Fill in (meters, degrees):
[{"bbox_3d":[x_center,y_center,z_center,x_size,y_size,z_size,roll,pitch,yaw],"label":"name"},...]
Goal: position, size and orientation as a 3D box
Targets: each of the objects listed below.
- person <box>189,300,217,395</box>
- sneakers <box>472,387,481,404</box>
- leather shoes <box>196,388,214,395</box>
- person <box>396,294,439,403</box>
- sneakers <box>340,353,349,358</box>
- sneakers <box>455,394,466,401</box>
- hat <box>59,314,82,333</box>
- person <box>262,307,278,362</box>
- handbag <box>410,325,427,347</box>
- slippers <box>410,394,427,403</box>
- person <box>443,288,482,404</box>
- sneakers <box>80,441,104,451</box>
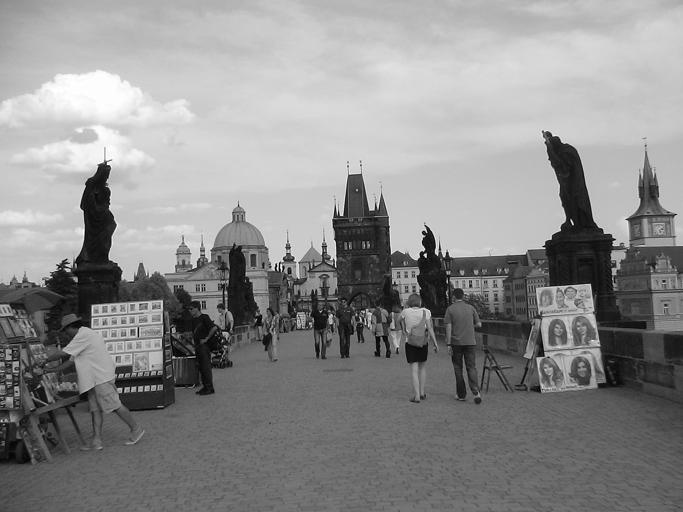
[{"bbox_3d":[-3.022,2.010,16.479,0.534,1.609,1.452,-3,-1,-11],"label":"person"},{"bbox_3d":[2.379,2.532,13.176,0.103,0.337,0.235,-3,36,4],"label":"sneakers"},{"bbox_3d":[-2.891,2.890,15.919,0.274,0.125,0.175,4,-5,0],"label":"leather shoes"},{"bbox_3d":[1.446,1.713,14.098,0.592,1.838,1.323,-3,-1,5],"label":"person"},{"bbox_3d":[0.119,3.437,25.692,0.266,0.131,0.499,-4,-1,4],"label":"sneakers"},{"bbox_3d":[2.171,2.571,13.692,0.187,0.141,0.393,-3,-1,8],"label":"sneakers"},{"bbox_3d":[-3.907,0.917,10.824,0.309,0.154,0.362,-29,-1,-5],"label":"hat"},{"bbox_3d":[-2.424,2.684,25.640,0.513,1.527,1.684,-3,-1,-6],"label":"person"},{"bbox_3d":[1.400,1.490,13.894,0.236,0.352,0.190,19,-28,-22],"label":"handbag"},{"bbox_3d":[1.391,2.622,13.709,0.121,0.171,0.408,-9,-19,24],"label":"slippers"},{"bbox_3d":[2.231,1.622,13.809,0.572,1.975,1.158,-3,-1,9],"label":"person"},{"bbox_3d":[-3.484,2.656,10.486,0.297,0.128,0.126,1,-12,3],"label":"sneakers"}]
